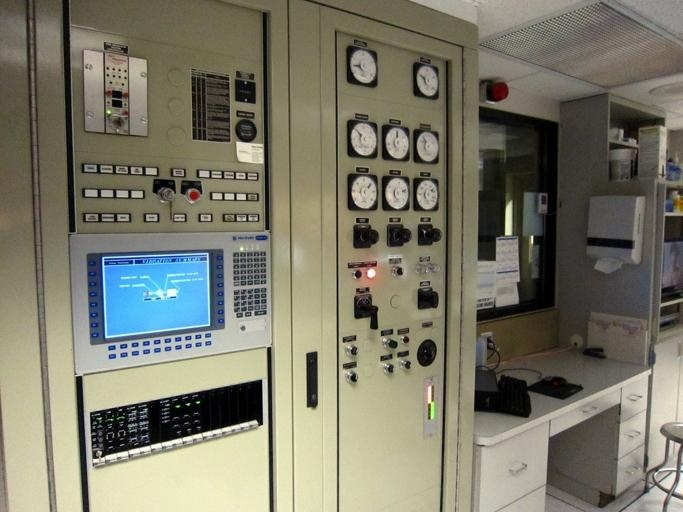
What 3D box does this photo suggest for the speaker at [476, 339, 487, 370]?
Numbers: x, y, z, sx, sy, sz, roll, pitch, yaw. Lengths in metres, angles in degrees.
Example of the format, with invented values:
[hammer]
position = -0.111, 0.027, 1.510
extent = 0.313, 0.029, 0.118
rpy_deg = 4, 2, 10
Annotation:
[speaker]
position = 0.920, 0.622, 3.680
extent = 0.063, 0.183, 0.106
rpy_deg = -4, 4, 16

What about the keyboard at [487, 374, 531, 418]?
[keyboard]
position = 0.980, 0.827, 3.235
extent = 0.231, 0.078, 0.331
rpy_deg = -6, 17, 22

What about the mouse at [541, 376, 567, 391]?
[mouse]
position = 1.330, 0.788, 3.491
extent = 0.070, 0.038, 0.113
rpy_deg = -7, 8, -40

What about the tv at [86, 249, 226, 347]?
[tv]
position = -0.753, 0.162, 2.196
extent = 0.371, 0.264, 0.043
rpy_deg = -3, 3, -26
